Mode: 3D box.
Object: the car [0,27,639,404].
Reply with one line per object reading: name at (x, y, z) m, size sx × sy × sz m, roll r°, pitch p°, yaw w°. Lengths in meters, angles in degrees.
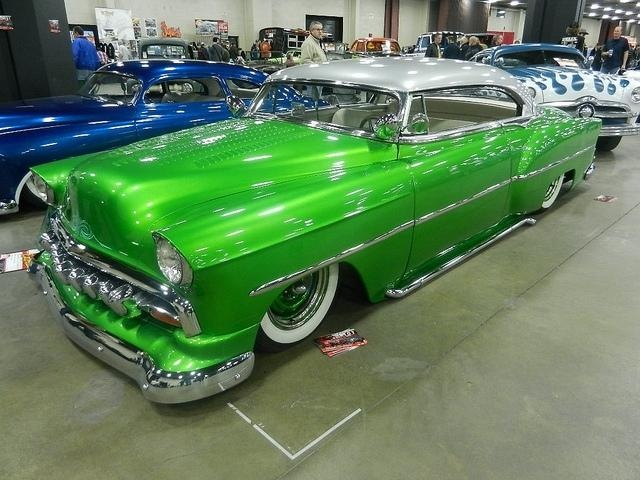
car at (0.693, -0.451, 3.224) m, size 4.741 × 1.170 × 2.167 m, roll -17°, pitch 30°, yaw -31°
